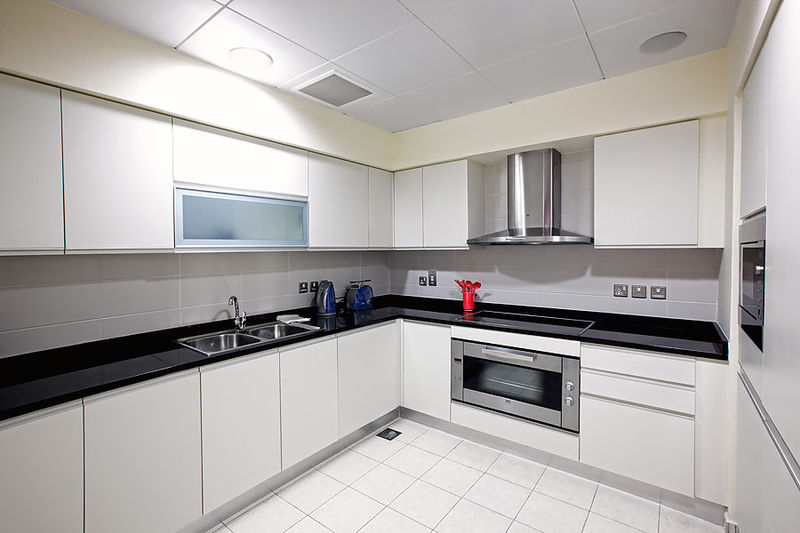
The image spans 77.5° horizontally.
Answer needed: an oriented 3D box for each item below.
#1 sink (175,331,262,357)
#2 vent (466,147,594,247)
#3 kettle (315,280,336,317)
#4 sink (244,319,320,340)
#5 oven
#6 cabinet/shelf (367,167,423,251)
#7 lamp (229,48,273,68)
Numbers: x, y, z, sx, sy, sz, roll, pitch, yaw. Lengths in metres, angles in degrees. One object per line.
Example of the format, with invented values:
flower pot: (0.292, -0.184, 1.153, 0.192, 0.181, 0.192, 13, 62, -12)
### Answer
sink: (-1.320, 0.562, 3.687, 0.307, 0.116, 0.255, -7, 13, -44)
vent: (1.088, -0.565, 4.187, 1.005, 0.757, 0.538, 3, 9, 33)
kettle: (-0.666, 0.271, 4.419, 0.156, 0.285, 0.245, -4, 5, -20)
sink: (-0.985, 0.511, 3.950, 0.240, 0.117, 0.288, 5, 9, 38)
oven: (1.073, 0.893, 4.124, 1.151, 0.543, 0.770, 2, 1, 42)
cabinet/shelf: (-0.039, -0.542, 4.631, 0.502, 0.732, 0.330, -2, 5, 1)
lamp: (-1.004, -1.418, 3.370, 0.273, 0.072, 0.199, -3, 5, -18)
